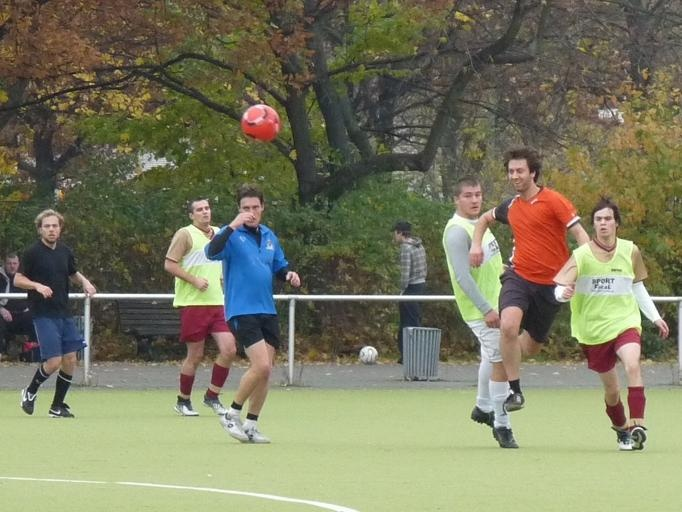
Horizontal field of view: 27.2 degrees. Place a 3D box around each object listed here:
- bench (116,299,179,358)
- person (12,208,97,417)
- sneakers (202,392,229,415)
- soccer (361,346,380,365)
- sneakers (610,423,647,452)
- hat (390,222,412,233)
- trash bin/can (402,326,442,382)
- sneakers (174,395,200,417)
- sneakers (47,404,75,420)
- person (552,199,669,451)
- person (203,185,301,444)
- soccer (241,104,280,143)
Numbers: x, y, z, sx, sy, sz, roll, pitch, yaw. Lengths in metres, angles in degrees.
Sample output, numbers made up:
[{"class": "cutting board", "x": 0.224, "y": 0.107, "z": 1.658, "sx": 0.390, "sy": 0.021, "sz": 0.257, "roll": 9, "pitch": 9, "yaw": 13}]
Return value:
[{"class": "bench", "x": -3.030, "y": 1.119, "z": 22.073, "sx": 1.011, "sy": 0.672, "sz": 0.442, "roll": 2, "pitch": 2, "yaw": -44}, {"class": "person", "x": -3.744, "y": 0.715, "z": 18.268, "sx": 0.610, "sy": 2.687, "sz": 0.965, "roll": -5, "pitch": -7, "yaw": 37}, {"class": "sneakers", "x": -1.636, "y": 1.936, "z": 18.625, "sx": 0.332, "sy": 0.148, "sz": 0.122, "roll": 38, "pitch": 20, "yaw": 8}, {"class": "soccer", "x": 0.470, "y": 1.494, "z": 21.728, "sx": 0.247, "sy": 0.247, "sz": 0.250, "roll": -15, "pitch": 32, "yaw": 16}, {"class": "sneakers", "x": 3.320, "y": 2.059, "z": 15.996, "sx": 0.172, "sy": 0.211, "sz": 0.474, "roll": -2, "pitch": -14, "yaw": -4}, {"class": "hat", "x": 1.078, "y": -0.530, "z": 23.868, "sx": 0.172, "sy": 0.119, "sz": 0.230, "roll": -9, "pitch": 20, "yaw": -44}, {"class": "trash bin/can", "x": 1.268, "y": 1.447, "z": 21.705, "sx": 0.679, "sy": 0.740, "sz": 0.630, "roll": 2, "pitch": 2, "yaw": 34}, {"class": "sneakers", "x": -1.950, "y": 1.968, "z": 18.500, "sx": 0.432, "sy": 0.212, "sz": 0.159, "roll": 6, "pitch": 3, "yaw": 44}, {"class": "sneakers", "x": -3.625, "y": 2.003, "z": 18.316, "sx": 0.383, "sy": 0.178, "sz": 0.139, "roll": -2, "pitch": -4, "yaw": 23}, {"class": "person", "x": 3.075, "y": 0.743, "z": 16.003, "sx": 1.253, "sy": 2.876, "sz": 0.592, "roll": 0, "pitch": -6, "yaw": -8}, {"class": "person", "x": -1.017, "y": 0.638, "z": 16.255, "sx": 0.918, "sy": 2.978, "sz": 0.714, "roll": 0, "pitch": -6, "yaw": -3}, {"class": "soccer", "x": -1.078, "y": -1.883, "z": 19.437, "sx": 0.497, "sy": 0.562, "sz": 0.422, "roll": 0, "pitch": -6, "yaw": -6}]
